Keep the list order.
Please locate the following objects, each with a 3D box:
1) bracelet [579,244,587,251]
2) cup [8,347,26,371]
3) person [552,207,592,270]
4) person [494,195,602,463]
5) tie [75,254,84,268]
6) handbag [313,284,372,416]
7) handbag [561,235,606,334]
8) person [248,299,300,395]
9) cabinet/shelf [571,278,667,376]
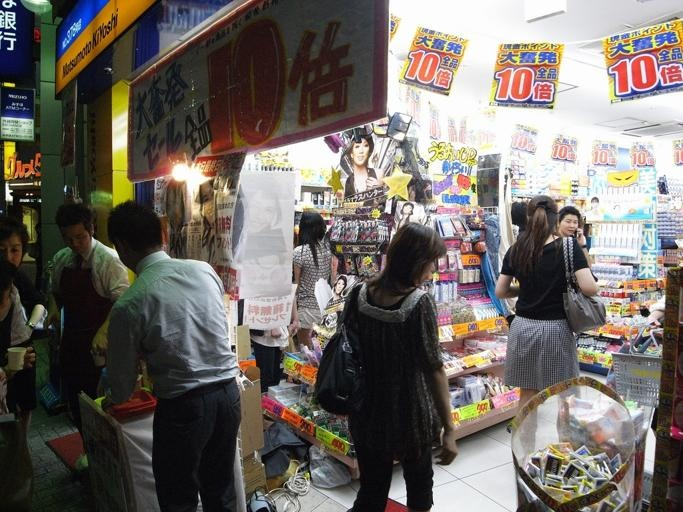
[{"bbox_3d":[2.376,-0.080,4.594,0.077,0.029,0.079,11,-2,-43],"label":"bracelet"},{"bbox_3d":[-2.189,0.693,3.168,0.105,0.165,0.172,6,3,-31],"label":"cup"},{"bbox_3d":[2.206,-0.098,4.513,0.301,0.266,0.943,-5,-43,21],"label":"person"},{"bbox_3d":[1.635,0.380,3.787,0.745,1.707,0.265,4,5,28],"label":"person"},{"bbox_3d":[-2.027,0.042,3.613,0.071,0.105,0.025,-1,4,16],"label":"tie"},{"bbox_3d":[-0.007,0.508,2.584,0.256,0.691,0.301,2,4,-1],"label":"handbag"},{"bbox_3d":[1.886,0.237,3.628,0.354,0.740,0.202,3,4,18],"label":"handbag"},{"bbox_3d":[-0.628,0.829,4.282,0.407,1.348,0.384,-2,29,-4],"label":"person"},{"bbox_3d":[3.636,1.030,6.748,1.261,1.277,0.726,9,-8,-7],"label":"cabinet/shelf"}]
